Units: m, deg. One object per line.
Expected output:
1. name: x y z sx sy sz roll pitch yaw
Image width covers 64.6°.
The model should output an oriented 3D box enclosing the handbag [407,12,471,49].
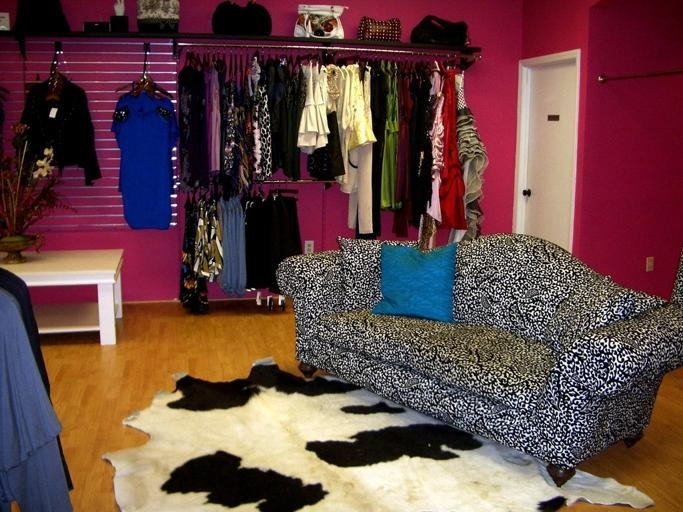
1. handbag: 0.933 -2.169 5.170 0.508 0.272 0.325 -3 28 -7

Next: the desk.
1. desk: -2.280 0.326 4.406 0.924 0.654 0.981 -4 13 -19

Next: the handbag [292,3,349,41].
1. handbag: -0.218 -2.117 4.871 0.467 0.355 0.216 1 8 -7

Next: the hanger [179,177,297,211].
1. hanger: -0.942 -0.631 4.980 1.008 0.250 0.515 -2 13 -13

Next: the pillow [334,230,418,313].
1. pillow: 0.221 0.123 3.576 0.531 0.574 0.187 0 -5 -2

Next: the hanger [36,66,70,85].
1. hanger: -2.537 -1.589 4.732 0.197 0.051 0.200 -3 5 2

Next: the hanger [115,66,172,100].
1. hanger: -1.784 -1.549 4.848 0.543 0.248 0.366 1 12 1

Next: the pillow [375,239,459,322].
1. pillow: 0.473 0.177 3.433 0.403 0.441 0.163 2 -19 19
